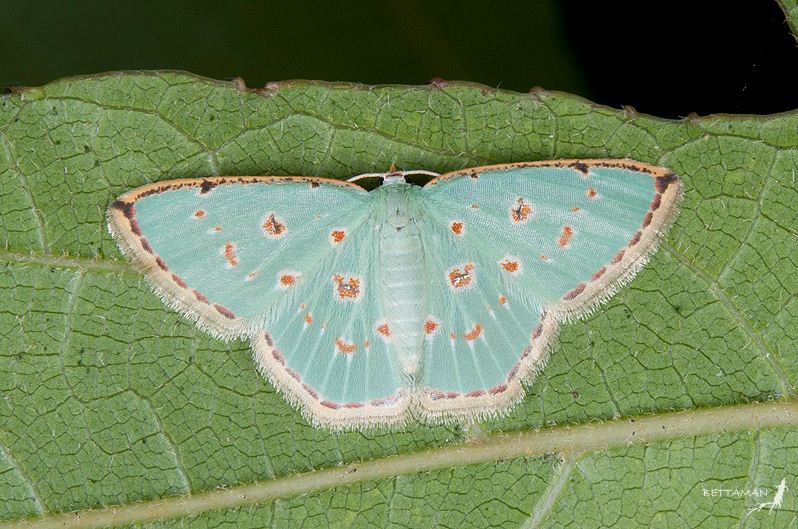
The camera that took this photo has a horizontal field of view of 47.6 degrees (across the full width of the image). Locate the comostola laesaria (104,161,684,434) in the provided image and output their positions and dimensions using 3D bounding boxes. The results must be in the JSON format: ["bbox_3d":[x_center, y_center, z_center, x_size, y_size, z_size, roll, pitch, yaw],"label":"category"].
[{"bbox_3d":[-0.220,0.220,8.860,5.111,0.388,2.706,-1,90,0],"label":"comostola laesaria"}]
